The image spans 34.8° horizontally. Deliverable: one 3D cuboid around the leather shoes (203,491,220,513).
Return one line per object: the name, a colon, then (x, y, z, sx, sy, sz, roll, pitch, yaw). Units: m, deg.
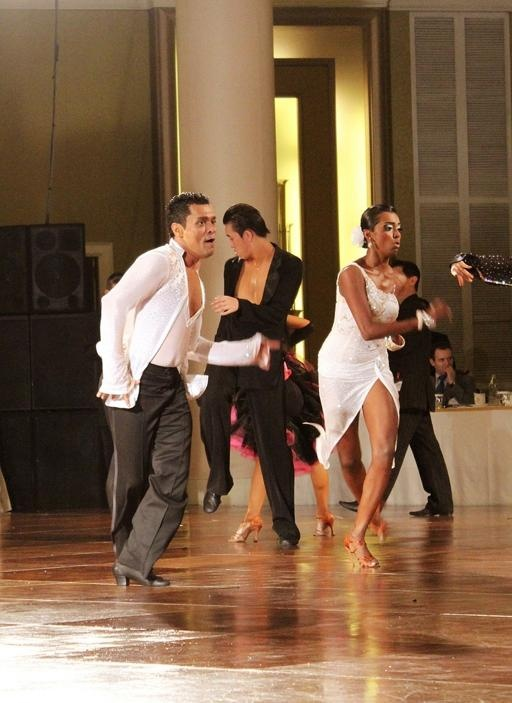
leather shoes: (-0.229, 0.775, 4.204, 0.068, 0.121, 0.129, 8, -3, -2)

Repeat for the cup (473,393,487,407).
cup: (1.745, 0.377, 6.266, 0.096, 0.102, 0.112, 0, -3, -14)

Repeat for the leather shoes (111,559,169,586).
leather shoes: (-0.396, 0.761, 2.796, 0.227, 0.079, 0.068, 0, -2, -2)

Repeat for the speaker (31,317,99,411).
speaker: (-1.582, 0.079, 6.701, 0.559, 0.804, 0.177, 1, 4, -4)

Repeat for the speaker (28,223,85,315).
speaker: (-1.630, -0.683, 6.715, 0.438, 0.740, 0.110, 0, 4, -11)

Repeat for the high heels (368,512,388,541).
high heels: (0.597, 0.874, 4.024, 0.109, 0.166, 0.069, -11, 13, 7)
